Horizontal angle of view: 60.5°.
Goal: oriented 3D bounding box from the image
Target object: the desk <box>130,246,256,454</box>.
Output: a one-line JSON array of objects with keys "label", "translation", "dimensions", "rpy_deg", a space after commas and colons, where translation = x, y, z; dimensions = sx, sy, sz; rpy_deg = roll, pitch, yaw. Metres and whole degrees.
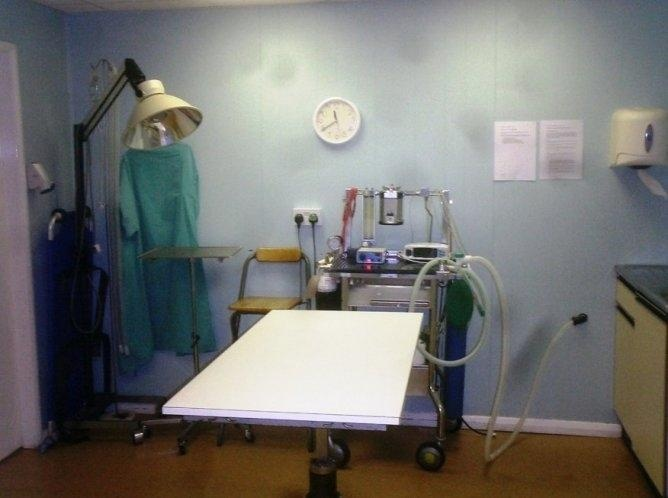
[{"label": "desk", "translation": [-1.060, 0.670, 4.939], "dimensions": [1.152, 2.160, 1.256], "rpy_deg": [0, 1, -16]}]

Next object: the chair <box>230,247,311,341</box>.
[{"label": "chair", "translation": [-0.421, 0.252, 4.378], "dimensions": [0.620, 1.008, 0.673], "rpy_deg": [1, 6, 4]}]
